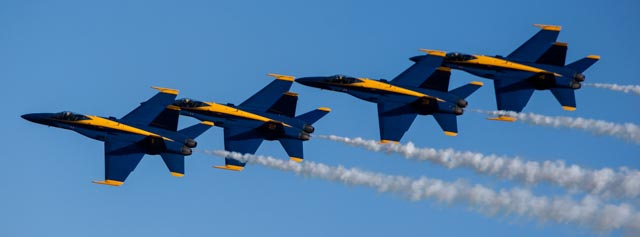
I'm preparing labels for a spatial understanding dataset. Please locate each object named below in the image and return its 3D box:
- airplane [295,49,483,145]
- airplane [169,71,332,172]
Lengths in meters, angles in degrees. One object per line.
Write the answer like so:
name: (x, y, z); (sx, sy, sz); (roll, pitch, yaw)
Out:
airplane: (8.175, -4.175, 124.156); (22.471, 13.168, 3.679); (12, -53, 11)
airplane: (-11.691, -0.276, 122.684); (22.601, 11.815, 4.538); (14, -14, 18)
